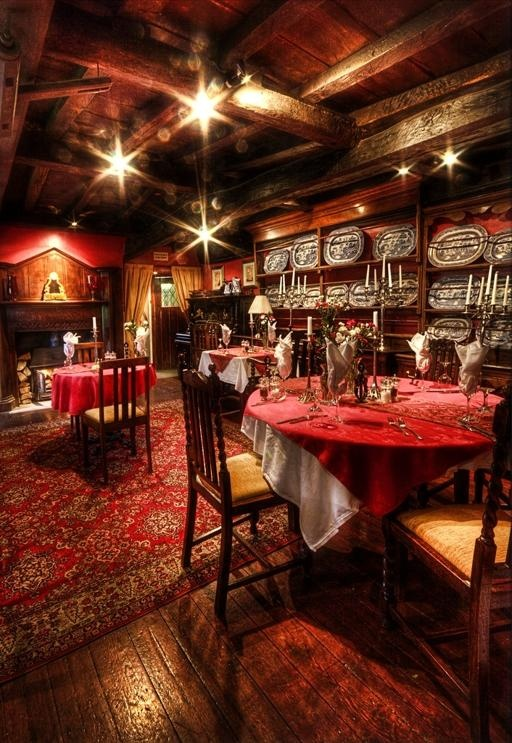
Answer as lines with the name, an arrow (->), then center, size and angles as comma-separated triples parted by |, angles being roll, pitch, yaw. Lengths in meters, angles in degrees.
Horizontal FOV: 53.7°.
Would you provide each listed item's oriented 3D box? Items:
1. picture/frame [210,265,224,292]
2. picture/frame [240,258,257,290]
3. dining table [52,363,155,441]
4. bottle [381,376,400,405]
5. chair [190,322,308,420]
picture/frame -> -0.621, -1.540, 8.271 | 0.050, 0.631, 0.637 | -3, 7, -27
picture/frame -> -0.090, -1.385, 7.145 | 0.045, 0.580, 0.582 | -2, 4, -23
dining table -> -1.148, 0.137, 3.773 | 0.682, 0.482, 0.666 | -4, 6, -37
bottle -> 0.658, 0.085, 2.468 | 0.069, 0.088, 0.230 | -1, -1, 14
chair -> -0.221, -0.020, 4.770 | 0.801, 0.464, 0.908 | -5, 9, -30
